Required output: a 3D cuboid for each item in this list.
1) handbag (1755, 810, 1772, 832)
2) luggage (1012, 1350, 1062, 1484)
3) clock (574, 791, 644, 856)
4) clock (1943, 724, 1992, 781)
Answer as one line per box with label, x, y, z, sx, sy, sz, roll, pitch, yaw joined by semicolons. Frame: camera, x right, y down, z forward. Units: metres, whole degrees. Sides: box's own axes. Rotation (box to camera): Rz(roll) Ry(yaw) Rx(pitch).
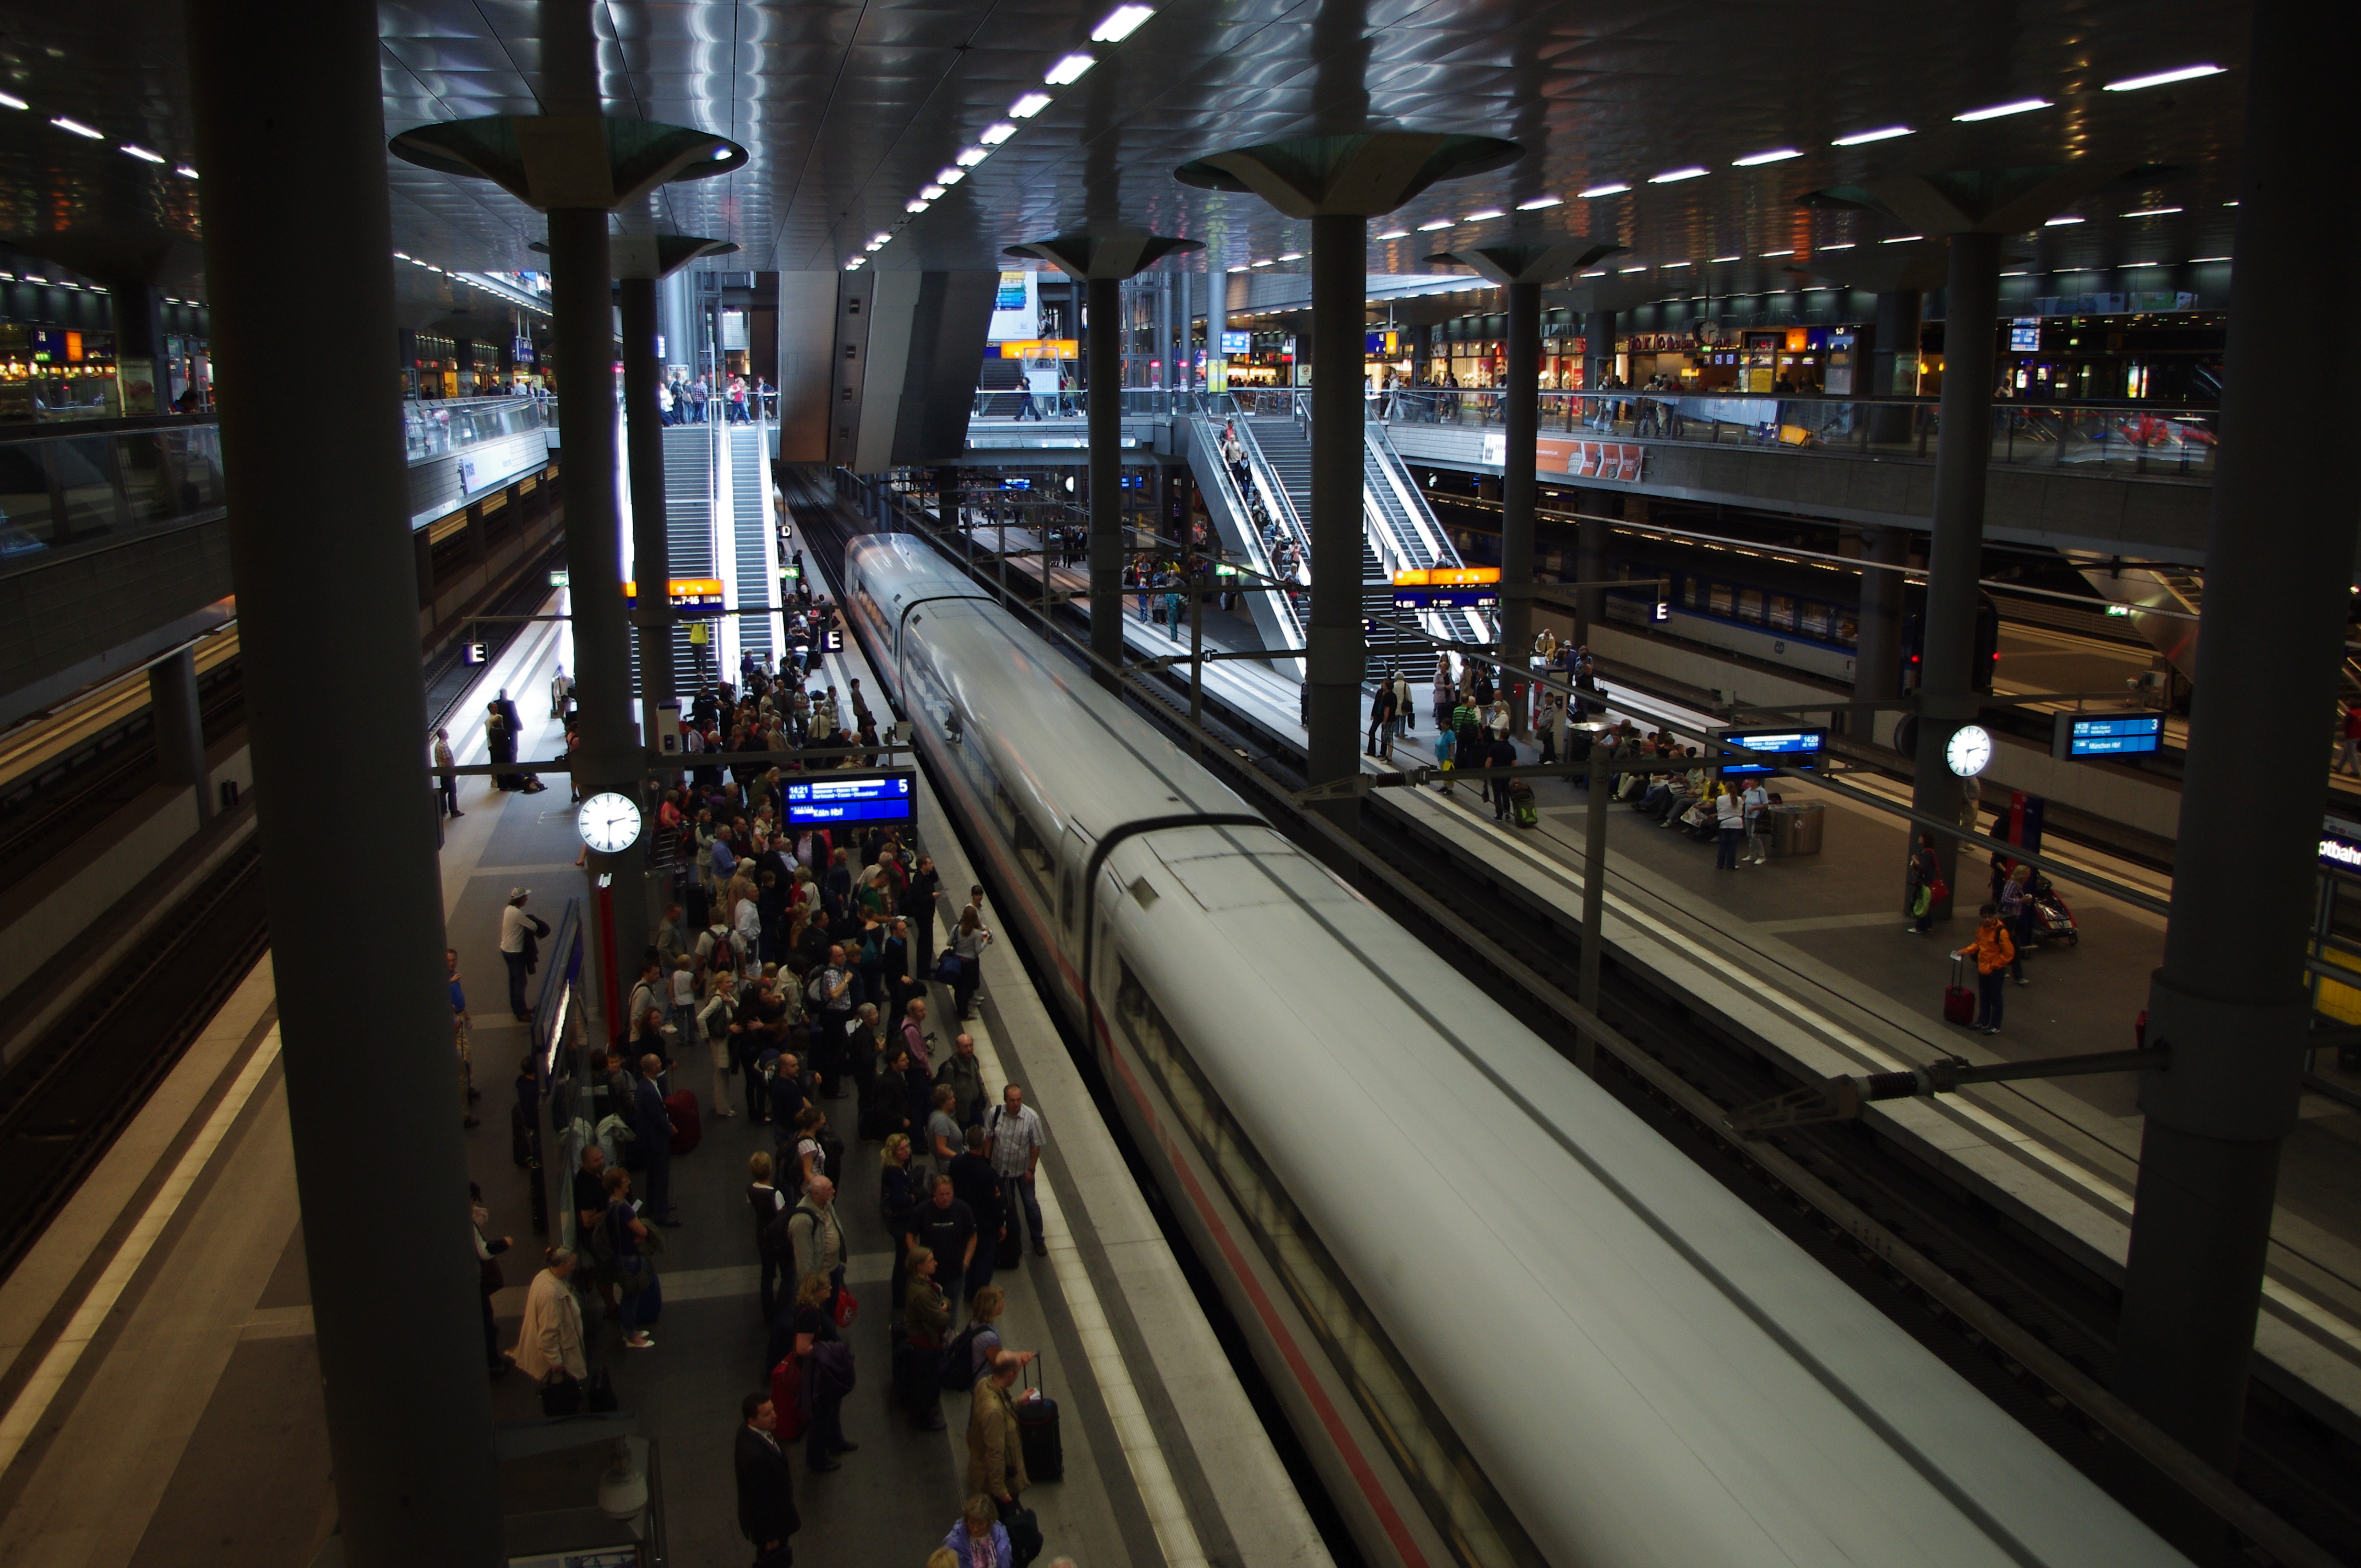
handbag;9.819;0.674;25.625;0.232;0.363;0.221;-1;2;-22
luggage;-1.032;4.701;11.339;0.299;0.888;0.280;-1;-21;-14
clock;-6.401;0.432;17.109;0.889;0.884;0.280;-2;16;5
clock;11.243;-0.469;21.745;0.896;0.864;0.121;-1;6;16
